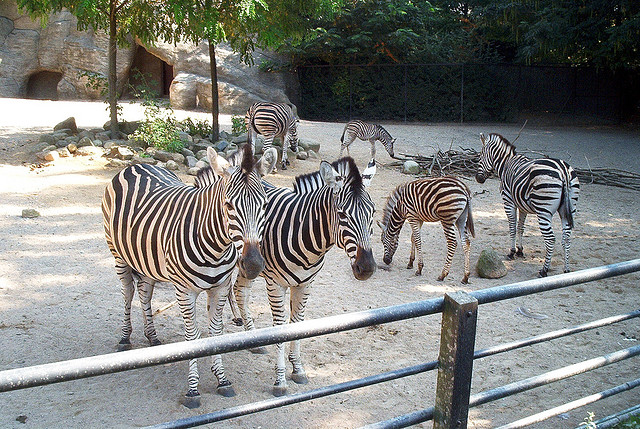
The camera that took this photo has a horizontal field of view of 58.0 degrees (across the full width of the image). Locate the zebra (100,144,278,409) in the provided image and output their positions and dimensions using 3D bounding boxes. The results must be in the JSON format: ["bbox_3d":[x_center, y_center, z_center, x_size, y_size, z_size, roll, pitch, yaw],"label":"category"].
[{"bbox_3d":[-1.533,0.416,6.902,2.299,2.934,0.847,-8,1,38],"label":"zebra"}]

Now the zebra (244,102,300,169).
[{"bbox_3d":[-1.167,-2.203,15.291,0.811,1.948,2.794,5,10,24],"label":"zebra"}]

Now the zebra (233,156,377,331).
[{"bbox_3d":[-0.412,0.526,7.449,0.949,2.310,3.381,2,1,-32],"label":"zebra"}]

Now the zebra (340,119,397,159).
[{"bbox_3d":[1.391,-2.218,17.185,1.466,1.154,1.800,-9,0,3],"label":"zebra"}]

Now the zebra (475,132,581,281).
[{"bbox_3d":[3.798,-0.296,10.653,1.116,2.513,1.882,-9,0,-5],"label":"zebra"}]

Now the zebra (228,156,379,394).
[{"bbox_3d":[-0.488,0.676,7.720,1.070,2.943,4.115,-1,5,-30],"label":"zebra"}]

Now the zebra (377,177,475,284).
[{"bbox_3d":[1.848,0.315,10.360,0.642,1.849,2.172,-2,-1,-41],"label":"zebra"}]
